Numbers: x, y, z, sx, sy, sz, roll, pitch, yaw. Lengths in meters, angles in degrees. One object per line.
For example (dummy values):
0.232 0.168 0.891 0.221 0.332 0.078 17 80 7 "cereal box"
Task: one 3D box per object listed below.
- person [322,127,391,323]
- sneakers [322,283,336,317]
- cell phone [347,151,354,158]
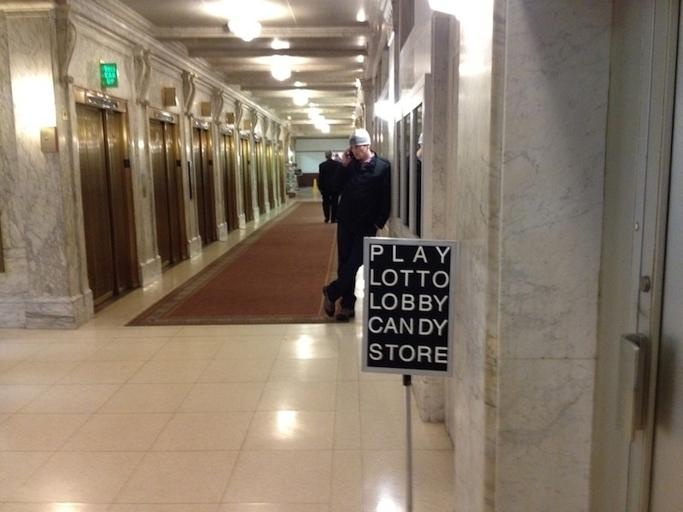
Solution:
0.152 -0.253 5.599 0.687 1.973 0.383 2 11 14 "person"
-0.133 0.472 5.872 0.151 0.367 0.127 -4 -5 -36 "sneakers"
0.079 -0.993 5.426 0.043 0.053 0.077 2 12 -2 "cell phone"
